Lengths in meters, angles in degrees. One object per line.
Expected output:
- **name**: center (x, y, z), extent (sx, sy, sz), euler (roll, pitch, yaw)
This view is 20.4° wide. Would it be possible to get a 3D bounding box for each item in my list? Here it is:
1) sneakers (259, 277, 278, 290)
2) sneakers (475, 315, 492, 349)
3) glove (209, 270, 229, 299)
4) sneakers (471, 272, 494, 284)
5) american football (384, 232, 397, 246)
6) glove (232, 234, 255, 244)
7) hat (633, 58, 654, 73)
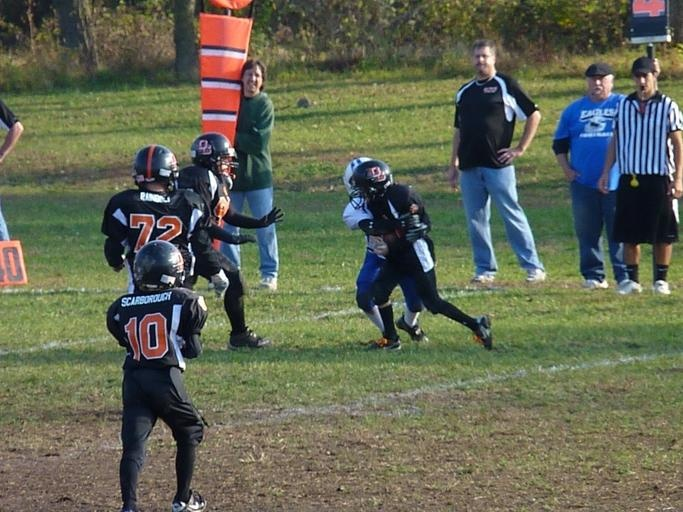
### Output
- **sneakers**: center (-1.356, 0.507, 34.483), extent (0.181, 0.217, 0.322), euler (3, -11, -27)
- **sneakers**: center (2.428, 1.240, 32.130), extent (0.258, 0.579, 0.217), euler (-17, 28, -1)
- **glove**: center (-2.098, 0.463, 32.316), extent (0.310, 0.345, 0.476), euler (4, 3, -8)
- **sneakers**: center (2.554, 0.397, 34.314), extent (0.445, 0.197, 0.167), euler (2, 1, -17)
- **american football**: center (0.809, -0.299, 32.069), extent (0.236, 0.224, 0.057), euler (1, 2, 15)
- **glove**: center (-1.670, -0.266, 32.060), extent (0.268, 0.102, 0.161), euler (0, 20, -1)
- **hat**: center (5.311, -3.303, 33.381), extent (0.403, 0.295, 0.275), euler (-3, 8, -7)
